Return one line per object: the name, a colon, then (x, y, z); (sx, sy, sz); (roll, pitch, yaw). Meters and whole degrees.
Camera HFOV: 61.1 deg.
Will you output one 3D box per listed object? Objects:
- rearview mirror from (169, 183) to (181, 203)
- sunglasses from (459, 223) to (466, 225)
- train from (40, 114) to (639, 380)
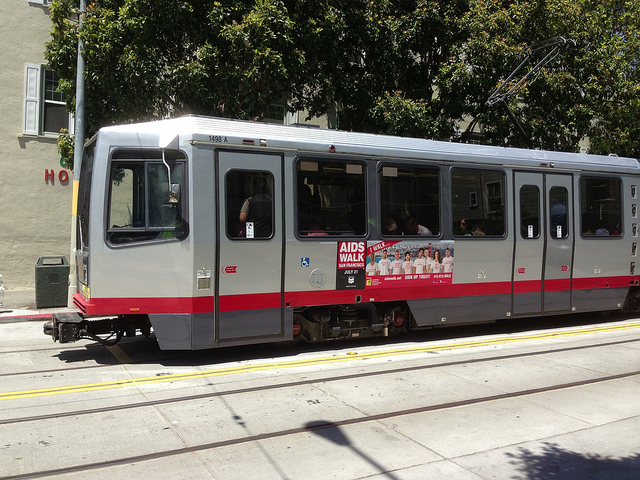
rearview mirror: (-2.405, -0.778, 8.994); (0.183, 0.323, 0.202); (-1, 5, -12)
sunglasses: (2.947, -0.328, 11.178); (0.145, 0.029, 0.006); (-2, 5, -23)
train: (2.725, 0.097, 13.284); (16.639, 5.122, 5.107); (-3, 5, -24)
